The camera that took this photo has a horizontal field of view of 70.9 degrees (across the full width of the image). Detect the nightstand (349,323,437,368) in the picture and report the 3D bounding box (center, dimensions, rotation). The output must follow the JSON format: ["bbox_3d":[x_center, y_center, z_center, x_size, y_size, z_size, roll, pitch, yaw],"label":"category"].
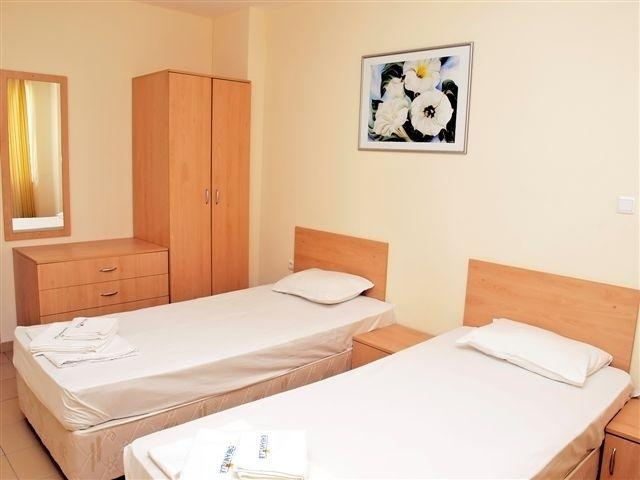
[{"bbox_3d":[0.520,0.648,3.272,0.379,0.357,0.367,-9,15,-39],"label":"nightstand"}]

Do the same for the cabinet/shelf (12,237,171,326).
[{"bbox_3d":[-1.970,0.361,4.018,1.009,0.681,0.591,-7,25,-43],"label":"cabinet/shelf"}]
